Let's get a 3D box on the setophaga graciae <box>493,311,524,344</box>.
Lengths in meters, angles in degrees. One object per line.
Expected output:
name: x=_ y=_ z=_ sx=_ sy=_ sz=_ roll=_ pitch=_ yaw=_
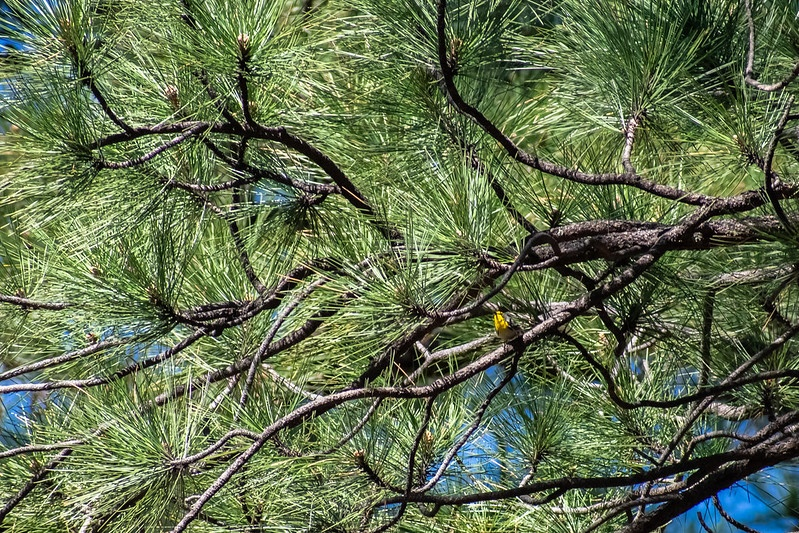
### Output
setophaga graciae: x=0.219 y=0.122 z=2.447 sx=0.032 sy=0.096 sz=0.042 roll=-28 pitch=-84 yaw=14
